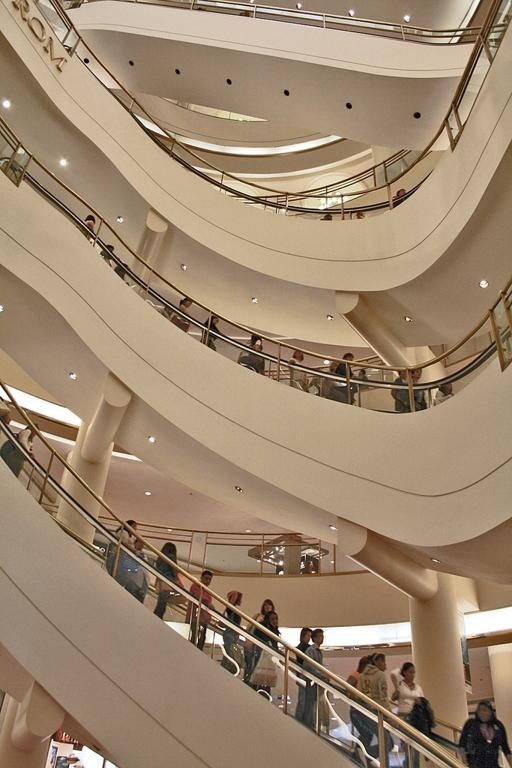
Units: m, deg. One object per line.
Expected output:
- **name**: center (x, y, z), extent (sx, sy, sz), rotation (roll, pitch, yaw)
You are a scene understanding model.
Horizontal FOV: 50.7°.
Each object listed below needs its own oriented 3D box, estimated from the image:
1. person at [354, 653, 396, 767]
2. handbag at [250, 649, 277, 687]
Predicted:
- **person**: center (0.844, 2.275, 3.899), extent (0.248, 0.799, 0.859), rotation (1, -39, 13)
- **handbag**: center (0.055, 2.049, 3.887), extent (0.130, 0.216, 0.089), rotation (19, -51, -6)
